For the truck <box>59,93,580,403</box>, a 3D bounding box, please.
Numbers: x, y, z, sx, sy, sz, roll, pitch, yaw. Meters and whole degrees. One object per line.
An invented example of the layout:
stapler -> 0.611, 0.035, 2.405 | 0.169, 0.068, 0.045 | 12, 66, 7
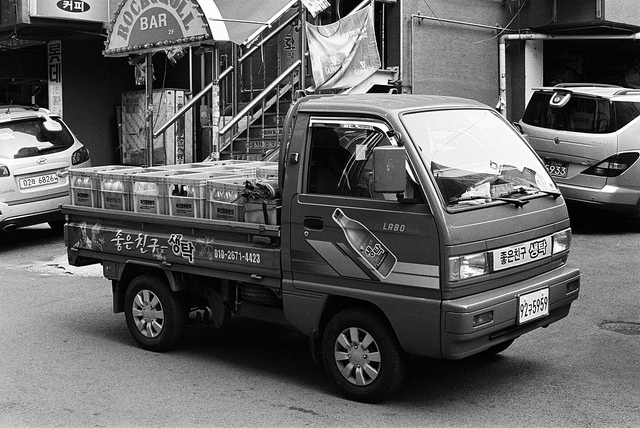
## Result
truck -> -0.166, 0.175, 7.469 | 5.775, 2.952, 2.880 | 4, 7, 37
